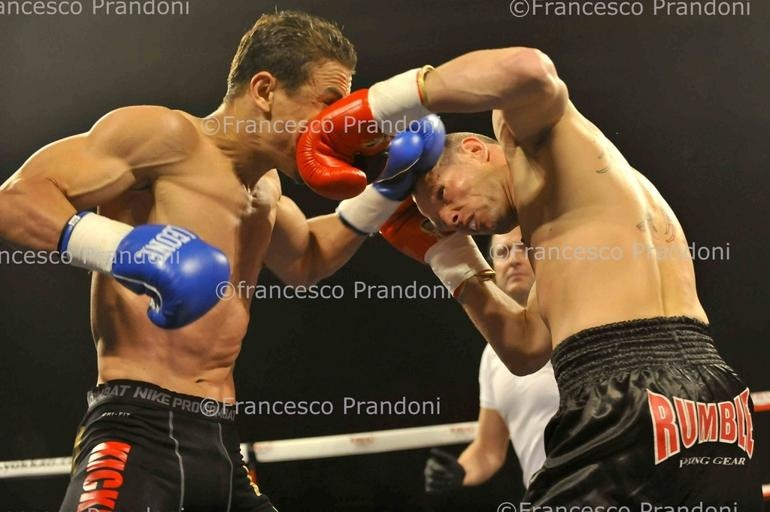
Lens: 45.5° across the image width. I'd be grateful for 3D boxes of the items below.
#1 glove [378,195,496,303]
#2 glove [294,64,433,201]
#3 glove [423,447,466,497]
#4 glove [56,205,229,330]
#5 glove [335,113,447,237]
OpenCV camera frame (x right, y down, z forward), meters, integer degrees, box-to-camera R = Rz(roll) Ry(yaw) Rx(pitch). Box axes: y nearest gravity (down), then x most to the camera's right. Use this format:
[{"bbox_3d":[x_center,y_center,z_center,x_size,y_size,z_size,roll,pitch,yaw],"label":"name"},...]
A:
[{"bbox_3d":[0.253,-0.067,4.402,0.351,0.538,0.219,-46,-5,20],"label":"glove"},{"bbox_3d":[-0.161,-0.516,3.807,0.694,0.375,0.276,-30,-16,22],"label":"glove"},{"bbox_3d":[0.280,1.038,4.383,0.172,0.217,0.080,-23,-6,10],"label":"glove"},{"bbox_3d":[-0.959,0.037,3.819,0.657,0.301,0.417,15,49,7],"label":"glove"},{"bbox_3d":[0.027,-0.347,4.229,0.556,0.390,0.218,-36,28,31],"label":"glove"}]
